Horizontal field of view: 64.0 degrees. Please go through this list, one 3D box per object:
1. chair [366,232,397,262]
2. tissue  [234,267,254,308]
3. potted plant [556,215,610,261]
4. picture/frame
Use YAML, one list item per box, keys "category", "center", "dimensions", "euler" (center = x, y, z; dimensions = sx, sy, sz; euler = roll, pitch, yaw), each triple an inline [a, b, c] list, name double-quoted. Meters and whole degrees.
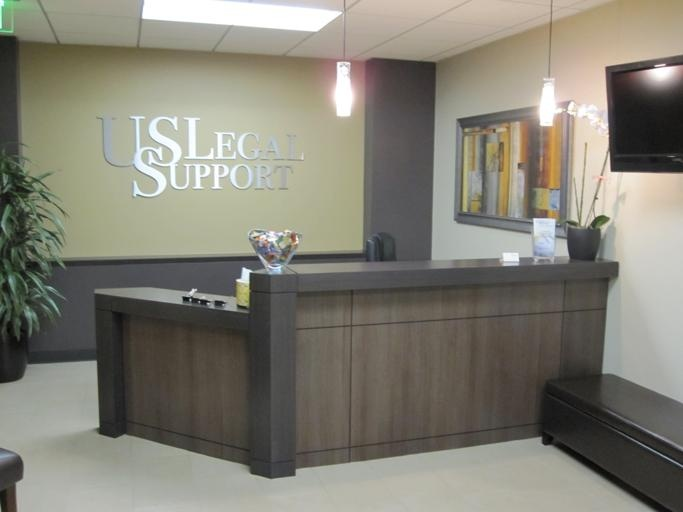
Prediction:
- category: "chair"
  center: [0.337, -0.097, 4.812]
  dimensions: [0.200, 0.298, 0.257]
  euler: [0, 5, -14]
- category: "tissue "
  center: [-0.669, 0.218, 3.694]
  dimensions: [0.082, 0.248, 0.132]
  euler: [-3, 12, -16]
- category: "potted plant"
  center: [1.873, -0.121, 4.234]
  dimensions: [0.330, 0.333, 0.343]
  euler: [1, -2, 22]
- category: "picture/frame"
  center: [1.658, -0.825, 5.160]
  dimensions: [0.095, 1.073, 1.421]
  euler: [-2, 4, -21]
